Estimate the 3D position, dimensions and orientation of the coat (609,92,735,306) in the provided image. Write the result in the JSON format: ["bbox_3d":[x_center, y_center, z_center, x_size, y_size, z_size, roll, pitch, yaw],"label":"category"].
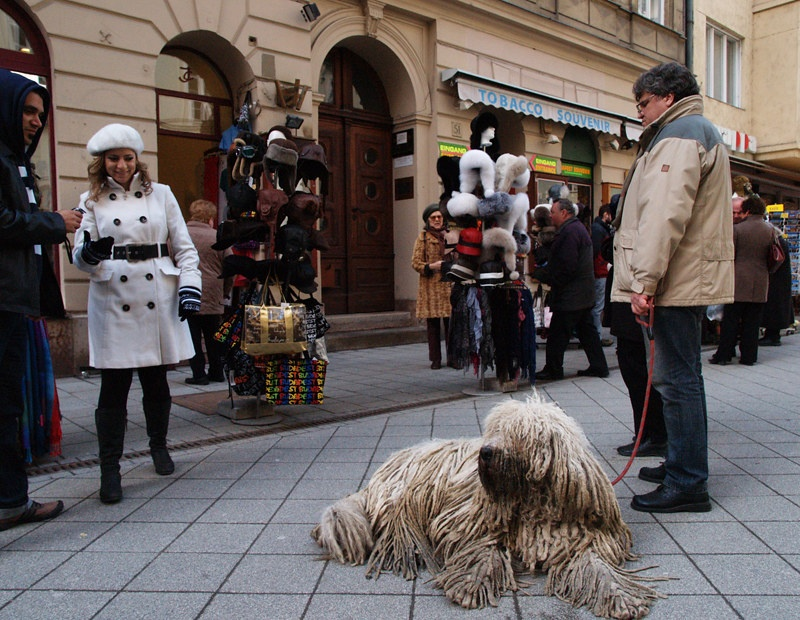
[{"bbox_3d":[1.647,-0.657,4.335,0.696,1.270,0.556,2,8,17],"label":"coat"}]

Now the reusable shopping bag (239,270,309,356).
[{"bbox_3d":[-0.918,0.070,5.902,0.682,0.883,0.357,1,-7,-22],"label":"reusable shopping bag"}]

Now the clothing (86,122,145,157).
[{"bbox_3d":[-1.839,-1.105,4.688,0.304,0.208,0.205,-2,8,-8],"label":"clothing"}]

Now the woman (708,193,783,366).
[{"bbox_3d":[4.261,-0.342,8.891,0.695,2.021,0.676,3,3,21],"label":"woman"}]

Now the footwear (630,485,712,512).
[{"bbox_3d":[1.626,1.129,4.383,0.470,0.226,0.177,2,-7,6],"label":"footwear"}]

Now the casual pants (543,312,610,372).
[{"bbox_3d":[2.000,0.375,8.303,0.573,0.803,0.264,-5,8,-8],"label":"casual pants"}]

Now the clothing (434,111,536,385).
[{"bbox_3d":[0.840,-0.498,6.903,0.936,2.737,0.749,-1,8,-1],"label":"clothing"}]

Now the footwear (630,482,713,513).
[{"bbox_3d":[1.611,1.124,4.379,0.469,0.225,0.179,2,-6,7],"label":"footwear"}]

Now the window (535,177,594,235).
[{"bbox_3d":[3.164,-1.982,14.070,1.244,1.180,0.479,1,-5,-18],"label":"window"}]

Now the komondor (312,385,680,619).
[{"bbox_3d":[0.469,1.018,3.570,1.045,0.731,1.360,-4,8,-31],"label":"komondor"}]

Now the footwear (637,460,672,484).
[{"bbox_3d":[1.638,1.057,4.754,0.231,0.153,0.104,5,-5,35],"label":"footwear"}]

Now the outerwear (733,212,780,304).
[{"bbox_3d":[4.243,-0.617,8.723,0.450,1.037,0.557,5,9,33],"label":"outerwear"}]

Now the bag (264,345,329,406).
[{"bbox_3d":[-0.834,0.605,5.983,0.533,0.382,0.289,1,-6,-1],"label":"bag"}]

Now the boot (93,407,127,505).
[{"bbox_3d":[-1.840,0.917,4.651,0.183,0.547,0.346,-4,9,-21],"label":"boot"}]

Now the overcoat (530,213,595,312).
[{"bbox_3d":[1.869,-0.505,7.955,0.554,1.007,0.565,-2,8,-8],"label":"overcoat"}]

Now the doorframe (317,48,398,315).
[{"bbox_3d":[-0.628,-2.057,11.733,0.607,4.151,1.574,6,10,39],"label":"doorframe"}]

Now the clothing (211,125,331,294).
[{"bbox_3d":[-1.076,-0.804,6.113,0.955,1.474,0.775,-2,8,-12],"label":"clothing"}]

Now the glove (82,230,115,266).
[{"bbox_3d":[-1.858,-0.377,4.478,0.167,0.125,0.212,36,-10,-37],"label":"glove"}]

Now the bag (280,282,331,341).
[{"bbox_3d":[-0.835,0.048,6.043,0.320,0.482,0.265,-18,0,-30],"label":"bag"}]
